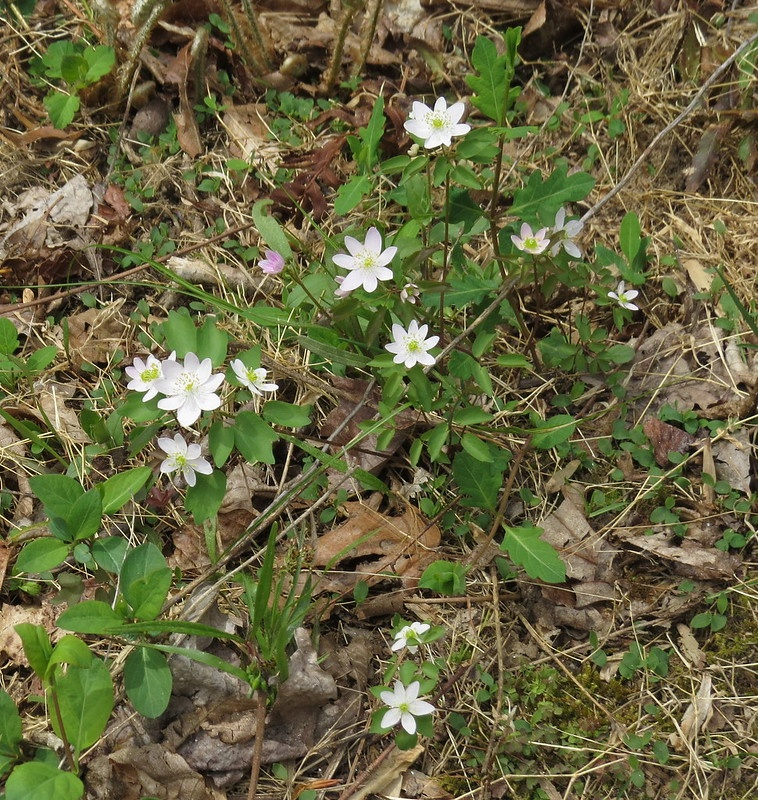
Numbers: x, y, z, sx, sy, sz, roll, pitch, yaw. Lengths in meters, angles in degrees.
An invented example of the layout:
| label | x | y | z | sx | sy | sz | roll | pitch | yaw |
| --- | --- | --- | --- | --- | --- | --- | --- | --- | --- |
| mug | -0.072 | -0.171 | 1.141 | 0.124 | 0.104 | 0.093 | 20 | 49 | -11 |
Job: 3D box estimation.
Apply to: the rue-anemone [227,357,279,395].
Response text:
| label | x | y | z | sx | sy | sz | roll | pitch | yaw |
| --- | --- | --- | --- | --- | --- | --- | --- | --- | --- |
| rue-anemone | -0.376 | -0.068 | 2.367 | 0.082 | 0.147 | 0.130 | -36 | 84 | -6 |

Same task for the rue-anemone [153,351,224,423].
| label | x | y | z | sx | sy | sz | roll | pitch | yaw |
| --- | --- | --- | --- | --- | --- | --- | --- | --- | --- |
| rue-anemone | -0.524 | -0.038 | 2.187 | 0.210 | 0.079 | 0.179 | -1 | 98 | -3 |

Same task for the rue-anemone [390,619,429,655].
| label | x | y | z | sx | sy | sz | roll | pitch | yaw |
| --- | --- | --- | --- | --- | --- | --- | --- | --- | --- |
| rue-anemone | 0.088 | 0.685 | 2.342 | 0.111 | 0.108 | 0.053 | -36 | 101 | -5 |
